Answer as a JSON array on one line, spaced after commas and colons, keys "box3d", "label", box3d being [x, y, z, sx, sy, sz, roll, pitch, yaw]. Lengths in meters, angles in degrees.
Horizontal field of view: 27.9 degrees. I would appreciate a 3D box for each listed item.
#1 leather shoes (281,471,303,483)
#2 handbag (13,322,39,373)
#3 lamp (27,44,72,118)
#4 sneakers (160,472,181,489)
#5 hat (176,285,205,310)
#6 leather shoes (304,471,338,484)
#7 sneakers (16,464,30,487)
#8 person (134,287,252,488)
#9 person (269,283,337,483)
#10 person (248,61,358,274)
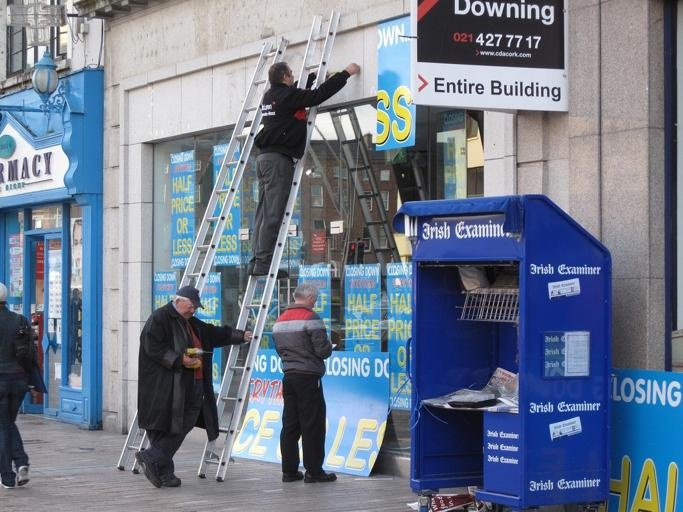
[{"box3d": [-0.537, 2.440, 15.101, 0.257, 0.124, 0.097, -1, 1, -32], "label": "leather shoes"}, {"box3d": [-3.429, 1.068, 15.033, 0.184, 0.605, 0.418, -2, 11, -13], "label": "handbag"}, {"box3d": [-4.237, -2.517, 19.933, 0.441, 1.043, 0.360, 4, -9, -16], "label": "lamp"}, {"box3d": [-1.838, 2.442, 14.847, 0.203, 0.219, 0.112, -1, 0, -17], "label": "sneakers"}, {"box3d": [-1.630, 0.447, 14.992, 0.262, 0.162, 0.189, 30, -5, -12], "label": "hat"}, {"box3d": [-0.221, 2.411, 15.063, 0.320, 0.169, 0.137, -3, 2, -15], "label": "leather shoes"}, {"box3d": [-3.432, 2.384, 14.871, 0.089, 0.182, 0.263, 5, -35, -23], "label": "sneakers"}, {"box3d": [-1.736, 1.436, 14.939, 0.918, 2.165, 0.477, 2, -4, -11], "label": "person"}, {"box3d": [-0.416, 1.410, 15.032, 0.691, 2.155, 0.432, 1, -3, 5], "label": "person"}, {"box3d": [-0.555, -0.954, 15.667, 0.936, 2.424, 0.601, 1, -3, 3], "label": "person"}]
